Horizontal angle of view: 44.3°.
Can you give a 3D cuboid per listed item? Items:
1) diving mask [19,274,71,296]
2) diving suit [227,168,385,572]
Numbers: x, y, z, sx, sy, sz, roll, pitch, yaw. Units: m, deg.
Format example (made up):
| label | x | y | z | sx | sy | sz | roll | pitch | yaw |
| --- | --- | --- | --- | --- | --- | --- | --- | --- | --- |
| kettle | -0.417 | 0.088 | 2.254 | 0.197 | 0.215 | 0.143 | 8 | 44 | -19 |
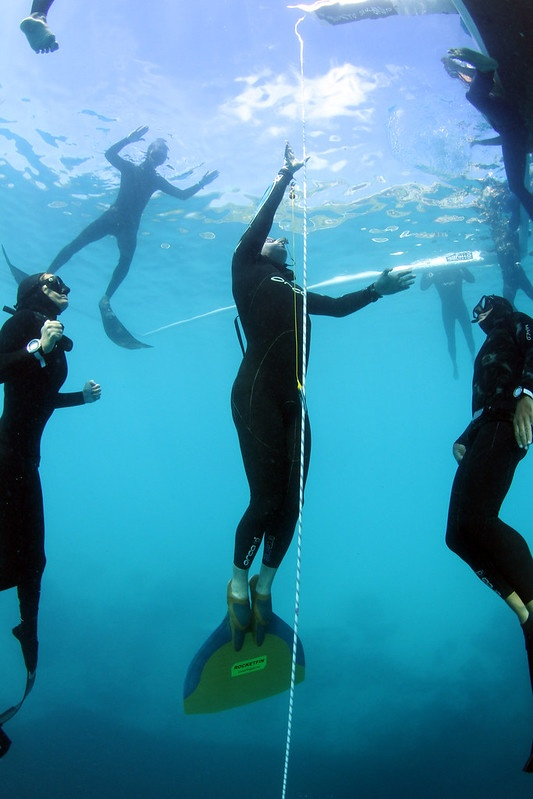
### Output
| label | x | y | z | sx | sy | sz | roll | pitch | yaw |
| --- | --- | --- | --- | --- | --- | --- | --- | --- | --- |
| diving mask | -1.940 | -0.958 | 5.713 | 0.305 | 0.139 | 0.253 | -18 | 8 | 10 |
| diving suit | 0.031 | -0.283 | 5.106 | 0.627 | 3.176 | 0.676 | -1 | 2 | -2 |
